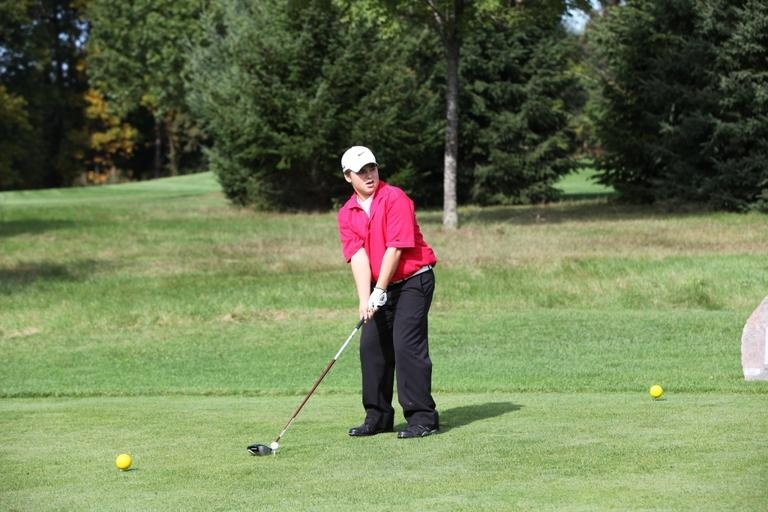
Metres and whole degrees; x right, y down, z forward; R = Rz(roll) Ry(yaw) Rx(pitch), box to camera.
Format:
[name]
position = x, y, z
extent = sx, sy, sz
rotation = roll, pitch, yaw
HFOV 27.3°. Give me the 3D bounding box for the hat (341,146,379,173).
[hat]
position = -0.480, -1.745, 28.631
extent = 0.524, 0.468, 0.317
rotation = -6, 4, -21
